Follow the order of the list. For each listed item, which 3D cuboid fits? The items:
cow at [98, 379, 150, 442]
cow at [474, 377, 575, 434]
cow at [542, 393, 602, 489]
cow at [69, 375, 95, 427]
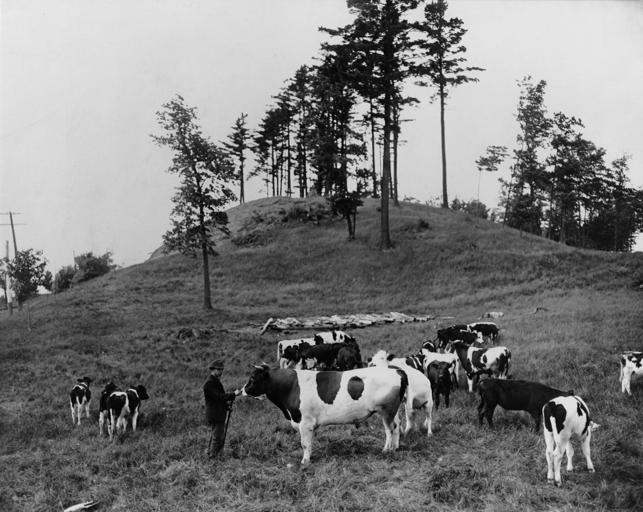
[{"bbox_3d":[-9.312,7.004,42.250,1.660,2.632,1.771,-3,3,-26],"label":"cow"},{"bbox_3d":[8.290,6.636,39.494,3.065,2.582,3.010,-3,1,32],"label":"cow"},{"bbox_3d":[9.924,7.434,37.140,1.845,3.321,0.952,-4,6,-10],"label":"cow"},{"bbox_3d":[-11.391,6.895,43.232,0.917,1.639,1.802,-5,7,-17],"label":"cow"}]
